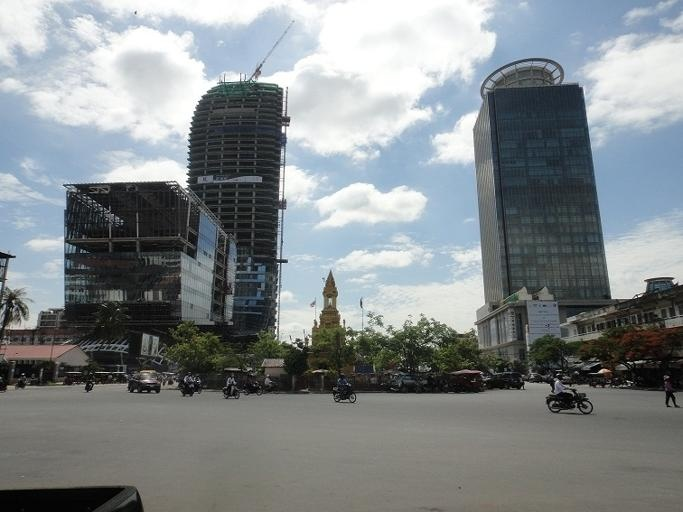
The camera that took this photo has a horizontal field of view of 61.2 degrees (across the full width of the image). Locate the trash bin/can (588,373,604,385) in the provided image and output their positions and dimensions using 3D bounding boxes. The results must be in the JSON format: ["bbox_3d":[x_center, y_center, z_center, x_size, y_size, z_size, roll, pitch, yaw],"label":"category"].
[{"bbox_3d":[26.120,12.690,58.906,0.994,1.076,2.075,2,-8,16],"label":"trash bin/can"}]

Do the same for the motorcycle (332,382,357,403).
[{"bbox_3d":[0.257,9.103,38.679,1.650,1.207,0.907,-9,-17,33],"label":"motorcycle"}]

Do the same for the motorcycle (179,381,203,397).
[{"bbox_3d":[-11.705,10.170,44.766,1.112,1.127,2.171,2,-12,-6],"label":"motorcycle"}]

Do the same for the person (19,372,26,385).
[{"bbox_3d":[-28.412,11.000,51.242,0.398,1.049,0.696,12,-19,-36],"label":"person"}]

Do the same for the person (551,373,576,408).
[{"bbox_3d":[10.646,6.418,27.654,0.885,1.364,2.540,-5,-14,18],"label":"person"}]
